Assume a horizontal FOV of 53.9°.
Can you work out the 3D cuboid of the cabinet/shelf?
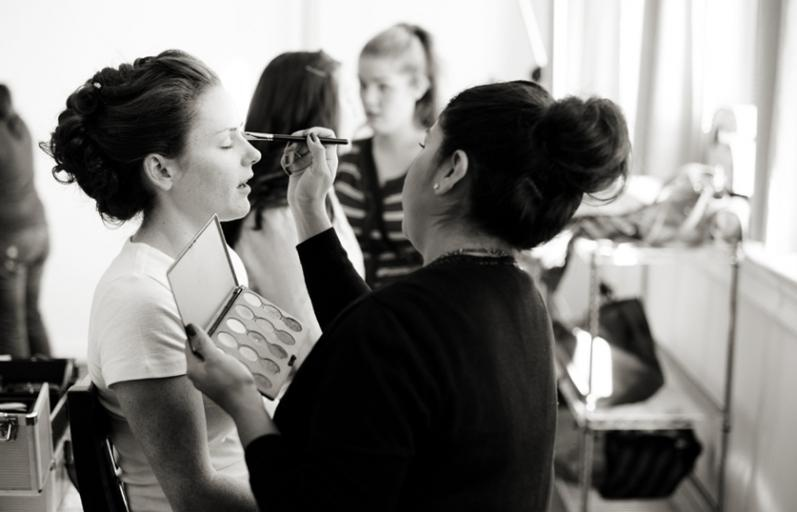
[{"bbox_3d":[0.782,0.279,2.401,0.370,0.973,0.991,1,6,1],"label":"cabinet/shelf"}]
